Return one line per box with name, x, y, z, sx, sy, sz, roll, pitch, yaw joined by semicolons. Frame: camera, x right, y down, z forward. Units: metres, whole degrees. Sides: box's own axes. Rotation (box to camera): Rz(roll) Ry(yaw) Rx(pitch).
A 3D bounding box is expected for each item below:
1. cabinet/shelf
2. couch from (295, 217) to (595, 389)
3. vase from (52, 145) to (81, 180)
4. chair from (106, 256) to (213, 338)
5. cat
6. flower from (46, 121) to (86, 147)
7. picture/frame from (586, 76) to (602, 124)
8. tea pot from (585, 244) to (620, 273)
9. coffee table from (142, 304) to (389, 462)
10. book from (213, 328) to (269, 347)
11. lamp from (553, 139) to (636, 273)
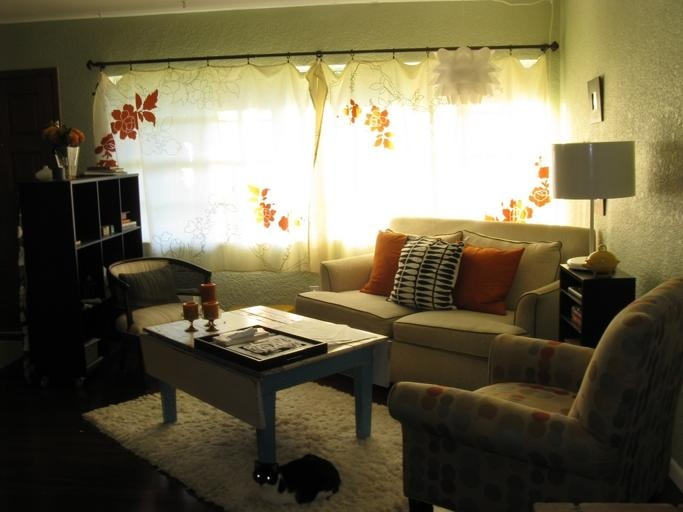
cabinet/shelf;-1.966;0.280;4.053;0.506;1.687;1.528;-2;7;0
couch;0.869;0.003;3.922;1.995;1.213;1.164;1;0;37
vase;-2.108;-0.704;4.161;0.217;0.232;0.210;-9;23;-11
chair;-1.424;0.400;4.184;0.641;0.685;0.679;6;13;40
cat;-0.208;1.060;2.622;0.317;0.123;0.227;1;9;-18
flower;-2.073;-0.909;4.054;0.256;0.188;0.202;-8;14;-21
picture/frame;1.746;-1.079;3.774;0.225;0.293;0.023;-20;21;-32
tea pot;1.490;0.006;3.094;0.160;0.138;0.158;-2;12;1
coffee table;-0.363;0.379;3.018;0.802;0.537;1.126;-7;8;-43
book;-0.549;0.433;2.952;0.169;0.044;0.122;-2;2;-42
lamp;1.526;-0.317;3.303;0.467;0.746;0.460;3;13;34
